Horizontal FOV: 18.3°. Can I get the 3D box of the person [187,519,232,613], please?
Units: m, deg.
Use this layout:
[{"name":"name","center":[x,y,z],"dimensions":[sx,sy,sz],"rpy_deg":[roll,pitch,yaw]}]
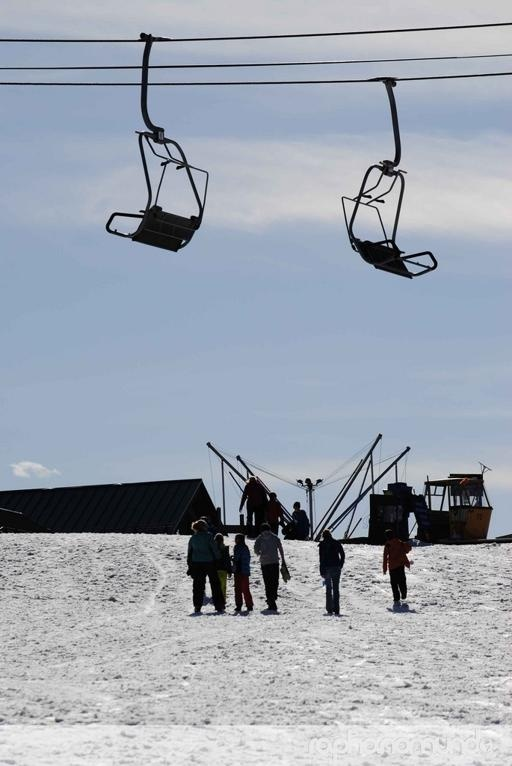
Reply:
[{"name":"person","center":[-0.806,2.813,24.489],"dimensions":[0.581,1.413,1.394],"rpy_deg":[0,-5,-2]}]
